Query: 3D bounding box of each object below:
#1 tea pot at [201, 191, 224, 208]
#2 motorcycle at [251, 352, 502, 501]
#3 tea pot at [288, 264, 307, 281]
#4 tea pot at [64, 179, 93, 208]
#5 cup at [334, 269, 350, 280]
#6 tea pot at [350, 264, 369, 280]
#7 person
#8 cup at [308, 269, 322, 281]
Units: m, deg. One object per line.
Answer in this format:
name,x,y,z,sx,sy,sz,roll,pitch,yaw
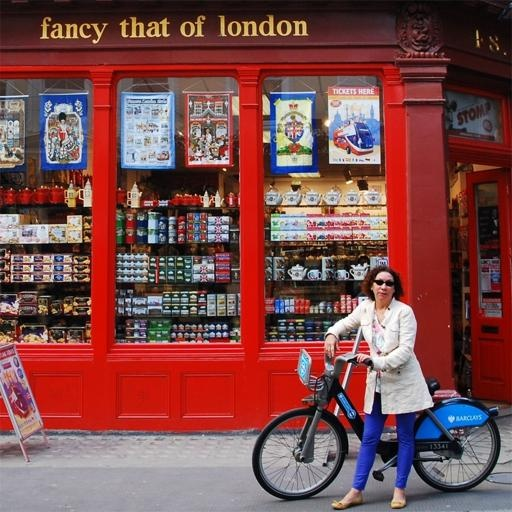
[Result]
tea pot,-0.491,-0.646,8.724,0.173,0.152,0.055,1,1,6
motorcycle,0.984,1.431,7.037,2.109,1.338,1.088,0,-2,-5
tea pot,0.465,0.182,8.742,0.208,0.187,0.133,-1,0,-4
tea pot,-2.013,-0.713,8.726,0.295,0.286,0.094,2,0,10
cup,0.973,0.206,8.734,0.143,0.133,0.094,0,-5,-6
tea pot,1.171,0.182,8.653,0.171,0.158,0.176,0,-7,0
person,1.117,1.080,6.621,0.817,2.031,0.905,-1,-2,24
cup,0.651,0.215,8.696,0.138,0.128,0.091,0,-2,4
